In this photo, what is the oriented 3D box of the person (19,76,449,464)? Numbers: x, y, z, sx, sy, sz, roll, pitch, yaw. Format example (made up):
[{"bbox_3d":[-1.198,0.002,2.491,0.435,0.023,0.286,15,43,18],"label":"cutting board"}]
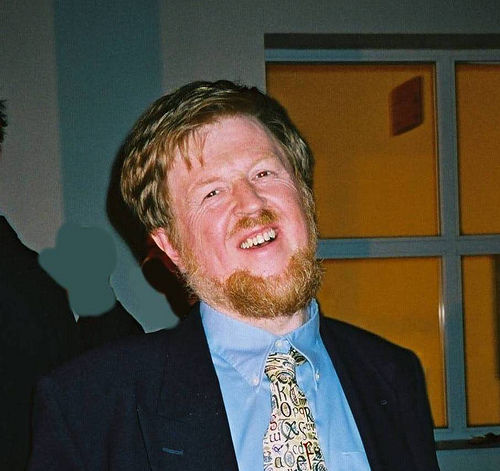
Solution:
[{"bbox_3d":[-0.104,0.148,2.645,1.202,1.307,0.673,-3,-23,-14],"label":"person"}]

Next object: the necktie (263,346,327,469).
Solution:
[{"bbox_3d":[0.127,0.503,2.267,0.173,0.345,0.152,-2,0,3],"label":"necktie"}]
